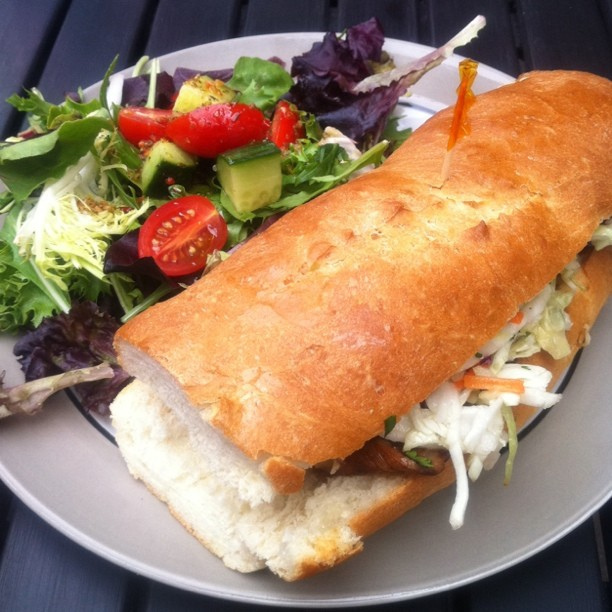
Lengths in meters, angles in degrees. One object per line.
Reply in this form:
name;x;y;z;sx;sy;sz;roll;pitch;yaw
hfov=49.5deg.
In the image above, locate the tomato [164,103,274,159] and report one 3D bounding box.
tomato;-0.392;-0.840;3.153;0.558;0.233;0.206;-7;35;-10
